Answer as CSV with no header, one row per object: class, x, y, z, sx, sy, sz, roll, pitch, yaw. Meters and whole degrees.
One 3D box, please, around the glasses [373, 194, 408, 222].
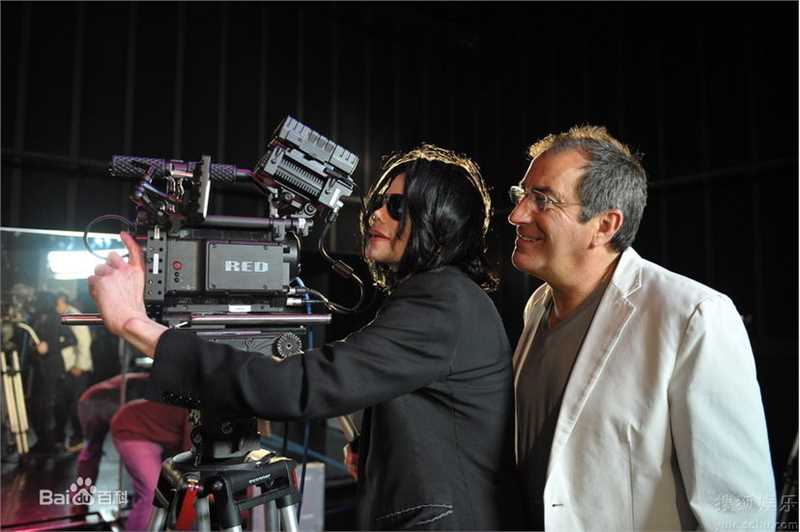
glasses,-0.040,-0.282,3.179,0.138,0.058,0.145,3,-16,33
